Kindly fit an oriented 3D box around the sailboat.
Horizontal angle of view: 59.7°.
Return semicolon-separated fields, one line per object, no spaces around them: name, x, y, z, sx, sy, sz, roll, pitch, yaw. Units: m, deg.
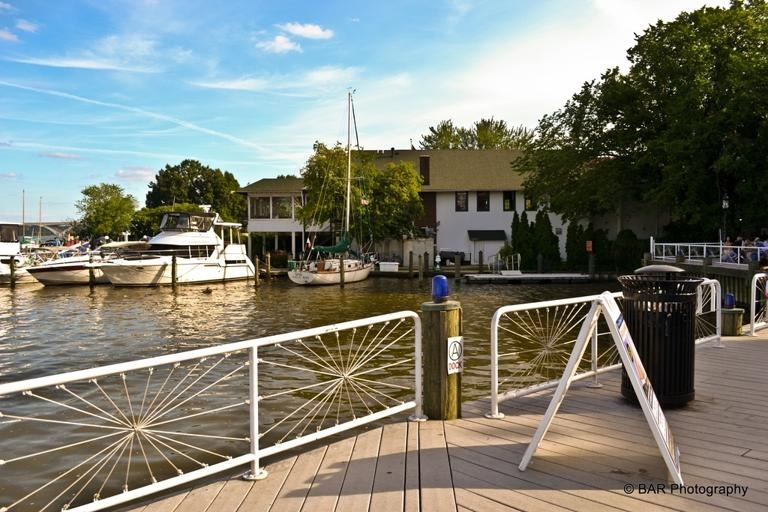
sailboat;-3.345;-5.107;47.143;4.750;13.686;12.193;-1;2;-1
